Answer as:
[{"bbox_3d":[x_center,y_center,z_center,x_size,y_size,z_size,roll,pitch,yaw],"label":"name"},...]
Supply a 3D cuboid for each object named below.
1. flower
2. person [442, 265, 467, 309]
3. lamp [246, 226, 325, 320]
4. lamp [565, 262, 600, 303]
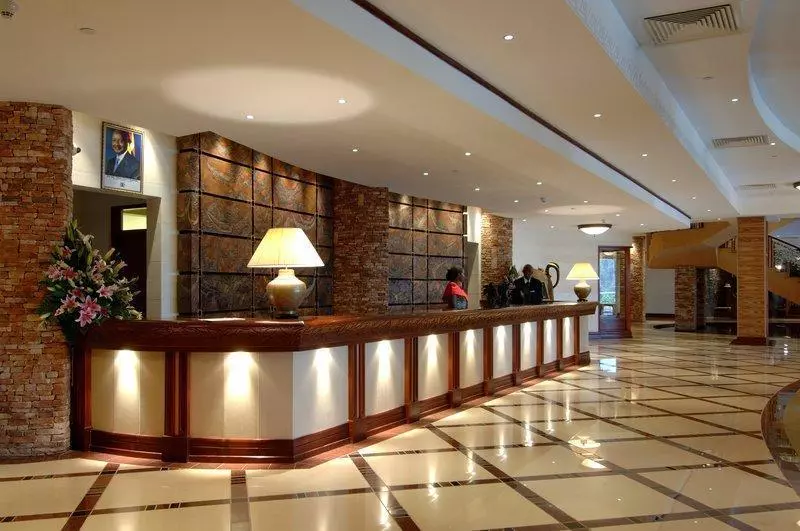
[{"bbox_3d":[-3.557,0.168,6.046,0.952,1.353,0.523,0,0,0],"label":"flower"},{"bbox_3d":[0.877,0.348,8.342,0.328,0.656,1.139,0,0,5],"label":"person"},{"bbox_3d":[-1.247,0.074,5.943,0.874,0.942,0.928,-5,-5,30],"label":"lamp"},{"bbox_3d":[4.059,0.355,11.808,0.782,0.787,0.787,4,-7,-4],"label":"lamp"}]
